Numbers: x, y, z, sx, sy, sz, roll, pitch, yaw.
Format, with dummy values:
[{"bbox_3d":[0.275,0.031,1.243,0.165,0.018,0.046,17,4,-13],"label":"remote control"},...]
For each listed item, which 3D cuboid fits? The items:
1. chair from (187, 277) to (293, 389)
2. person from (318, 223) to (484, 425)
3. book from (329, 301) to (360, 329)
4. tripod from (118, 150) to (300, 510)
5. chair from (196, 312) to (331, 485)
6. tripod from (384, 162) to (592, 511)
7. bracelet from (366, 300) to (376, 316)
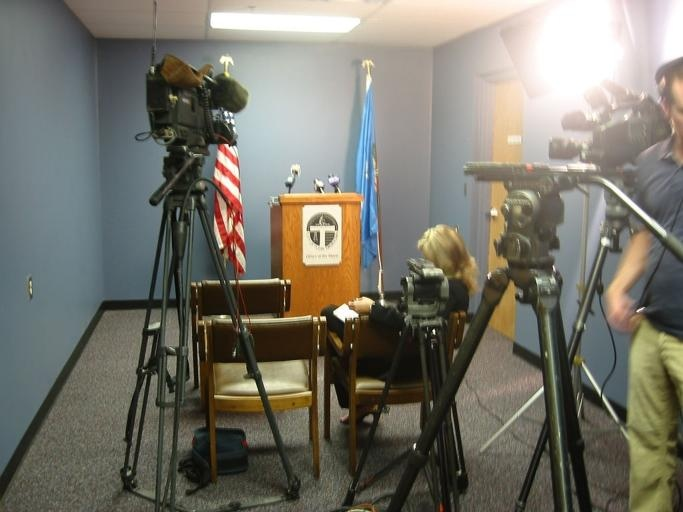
[{"bbox_3d":[-0.726,0.447,4.360,0.589,0.970,0.647,-2,27,-12],"label":"chair"},{"bbox_3d":[0.177,0.544,3.532,0.520,0.881,0.657,-12,11,-19],"label":"person"},{"bbox_3d":[0.008,0.337,3.509,0.107,0.043,0.112,-9,30,-34],"label":"book"},{"bbox_3d":[-0.747,0.382,3.044,0.859,1.952,0.856,-7,10,-27],"label":"tripod"},{"bbox_3d":[-0.430,0.615,3.496,0.664,1.308,0.869,-2,23,-8],"label":"chair"},{"bbox_3d":[0.512,0.273,1.952,0.605,1.165,0.351,2,9,28],"label":"tripod"},{"bbox_3d":[0.163,0.287,3.233,0.034,0.026,0.064,0,31,11],"label":"bracelet"}]
